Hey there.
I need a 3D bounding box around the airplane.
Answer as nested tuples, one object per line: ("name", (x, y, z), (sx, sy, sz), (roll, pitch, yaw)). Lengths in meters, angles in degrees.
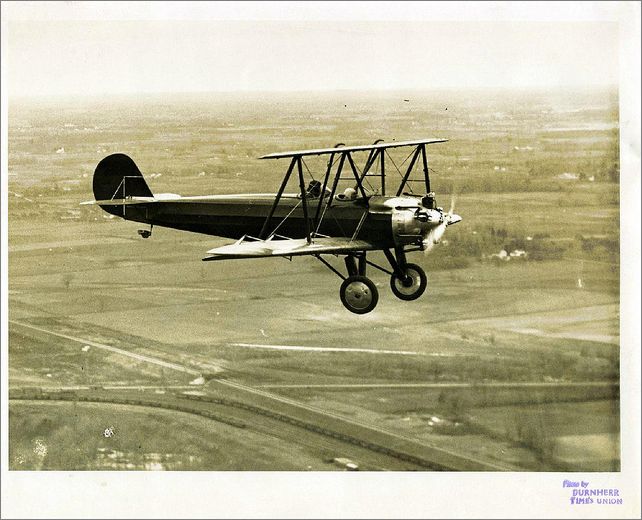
("airplane", (-1.230, -1.595, 37.446), (9.175, 3.711, 9.680), (3, 4, 24))
